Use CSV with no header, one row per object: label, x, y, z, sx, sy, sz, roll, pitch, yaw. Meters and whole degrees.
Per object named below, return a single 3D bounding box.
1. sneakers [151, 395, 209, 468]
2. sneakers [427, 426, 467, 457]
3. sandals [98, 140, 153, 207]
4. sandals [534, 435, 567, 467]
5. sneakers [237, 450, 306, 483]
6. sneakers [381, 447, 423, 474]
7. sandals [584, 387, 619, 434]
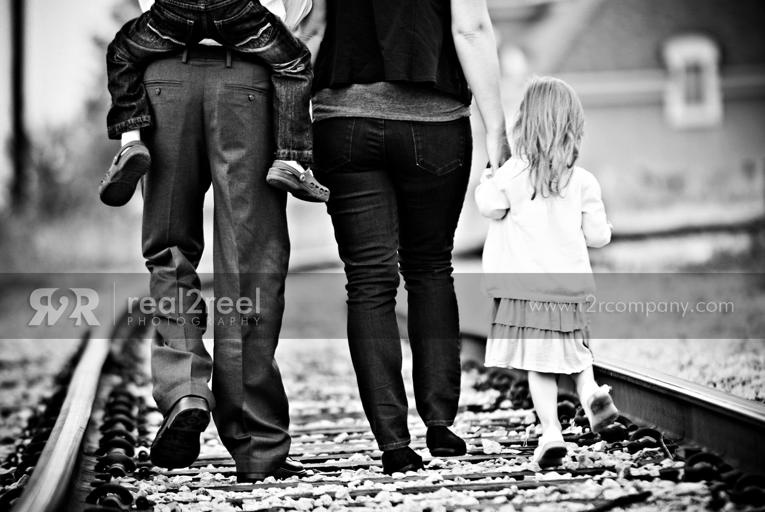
sneakers,-1.183,1.061,6.679,0.243,0.487,0.204,11,34,-21
sneakers,0.397,1.159,7.078,0.256,0.163,0.143,-1,-1,-20
sandals,-1.552,-0.440,6.853,0.203,0.528,0.227,4,42,-36
sandals,1.011,1.167,6.829,0.101,0.118,0.261,3,-37,-4
sneakers,-0.654,1.267,6.899,0.423,0.183,0.157,-1,2,-22
sneakers,0.123,1.248,6.902,0.247,0.157,0.116,1,3,1
sandals,1.322,0.940,6.909,0.167,0.291,0.160,0,3,-9
